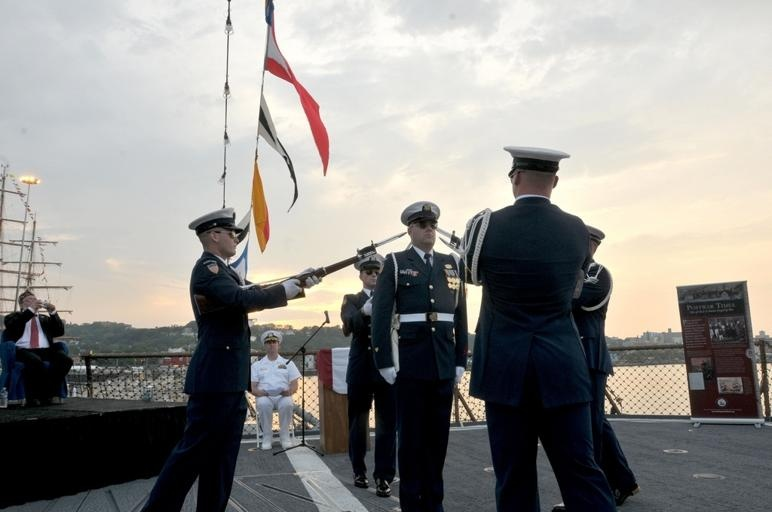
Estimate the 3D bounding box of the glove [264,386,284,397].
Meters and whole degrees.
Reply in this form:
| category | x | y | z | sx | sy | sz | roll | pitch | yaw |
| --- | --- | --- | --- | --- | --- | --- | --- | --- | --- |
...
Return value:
| category | x | y | z | sx | sy | sz | roll | pitch | yaw |
| --- | --- | --- | --- | --- | --- | --- | --- | --- | --- |
| glove | -1.730 | 2.102 | 9.490 | 0.222 | 0.167 | 0.065 | -17 | 29 | -6 |

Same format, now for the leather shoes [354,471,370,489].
| category | x | y | z | sx | sy | sz | roll | pitch | yaw |
| --- | --- | --- | --- | --- | --- | --- | --- | --- | --- |
| leather shoes | -0.285 | 2.512 | 6.864 | 0.162 | 0.175 | 0.144 | -1 | -8 | -4 |

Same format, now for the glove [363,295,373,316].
| category | x | y | z | sx | sy | sz | roll | pitch | yaw |
| --- | --- | --- | --- | --- | --- | --- | --- | --- | --- |
| glove | -0.215 | 0.587 | 7.153 | 0.175 | 0.242 | 0.090 | -2 | -6 | 24 |

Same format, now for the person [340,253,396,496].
| category | x | y | z | sx | sy | sz | roll | pitch | yaw |
| --- | --- | --- | --- | --- | --- | --- | --- | --- | --- |
| person | -0.219 | 1.356 | 7.228 | 0.765 | 2.745 | 0.838 | -5 | -10 | 17 |

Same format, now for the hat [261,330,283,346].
| category | x | y | z | sx | sy | sz | roll | pitch | yaw |
| --- | --- | --- | --- | --- | --- | --- | --- | --- | --- |
| hat | -1.855 | 1.320 | 9.821 | 0.351 | 0.397 | 0.152 | -2 | 13 | -6 |

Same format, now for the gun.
| category | x | y | z | sx | sy | sz | roll | pitch | yaw |
| --- | --- | --- | --- | --- | --- | --- | --- | --- | --- |
| gun | -0.412 | 0.197 | 5.555 | 1.698 | 0.331 | 0.118 | -24 | 8 | -6 |

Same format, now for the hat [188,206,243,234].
| category | x | y | z | sx | sy | sz | roll | pitch | yaw |
| --- | --- | --- | --- | --- | --- | --- | --- | --- | --- |
| hat | -1.441 | -0.275 | 5.161 | 0.470 | 0.203 | 0.390 | -2 | 0 | -6 |

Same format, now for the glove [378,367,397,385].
| category | x | y | z | sx | sy | sz | roll | pitch | yaw |
| --- | --- | --- | --- | --- | --- | --- | --- | --- | --- |
| glove | 0.014 | 1.145 | 5.828 | 0.130 | 0.169 | 0.180 | -1 | -5 | 14 |

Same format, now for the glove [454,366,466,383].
| category | x | y | z | sx | sy | sz | roll | pitch | yaw |
| --- | --- | --- | --- | --- | --- | --- | --- | --- | --- |
| glove | 0.705 | 1.146 | 5.893 | 0.128 | 0.144 | 0.163 | 2 | -14 | -9 |

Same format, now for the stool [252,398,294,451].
| category | x | y | z | sx | sy | sz | roll | pitch | yaw |
| --- | --- | --- | --- | --- | --- | --- | --- | --- | --- |
| stool | -1.695 | 2.454 | 9.267 | 0.632 | 0.734 | 0.855 | 3 | 9 | -9 |
